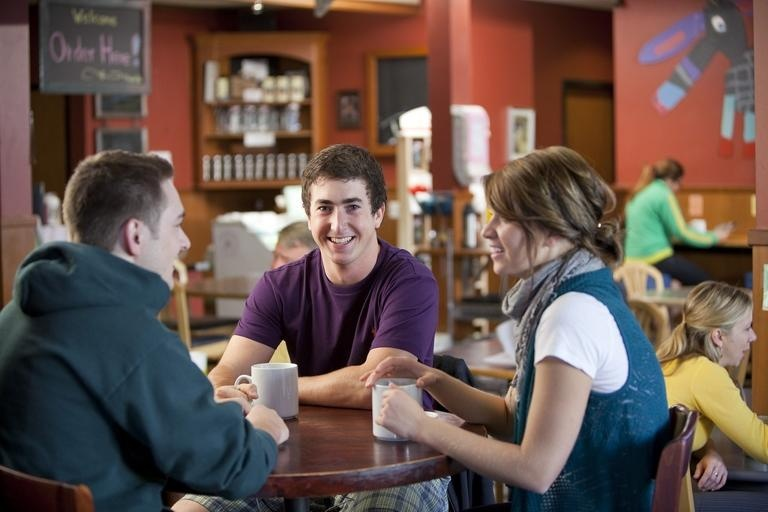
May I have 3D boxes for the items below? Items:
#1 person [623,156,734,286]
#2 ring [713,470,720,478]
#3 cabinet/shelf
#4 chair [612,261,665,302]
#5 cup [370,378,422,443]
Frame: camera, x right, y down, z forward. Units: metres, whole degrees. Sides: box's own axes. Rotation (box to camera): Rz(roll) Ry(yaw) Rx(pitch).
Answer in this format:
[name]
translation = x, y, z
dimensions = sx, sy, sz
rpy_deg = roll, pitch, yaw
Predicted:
[person]
translation = 2.428, -0.265, 6.371
dimensions = 0.876, 1.413, 0.681
rpy_deg = -7, 13, -15
[ring]
translation = 1.124, 0.736, 2.600
dimensions = 0.024, 0.013, 0.032
rpy_deg = -2, 1, 5
[cabinet/shelf]
translation = -1.308, -1.587, 7.919
dimensions = 1.940, 2.233, 0.593
rpy_deg = 0, 3, -4
[chair]
translation = 1.749, 0.180, 5.263
dimensions = 0.280, 0.352, 0.263
rpy_deg = -1, 0, -28
[cup]
translation = 0.025, 0.433, 2.165
dimensions = 0.140, 0.156, 0.159
rpy_deg = 0, -1, -7
